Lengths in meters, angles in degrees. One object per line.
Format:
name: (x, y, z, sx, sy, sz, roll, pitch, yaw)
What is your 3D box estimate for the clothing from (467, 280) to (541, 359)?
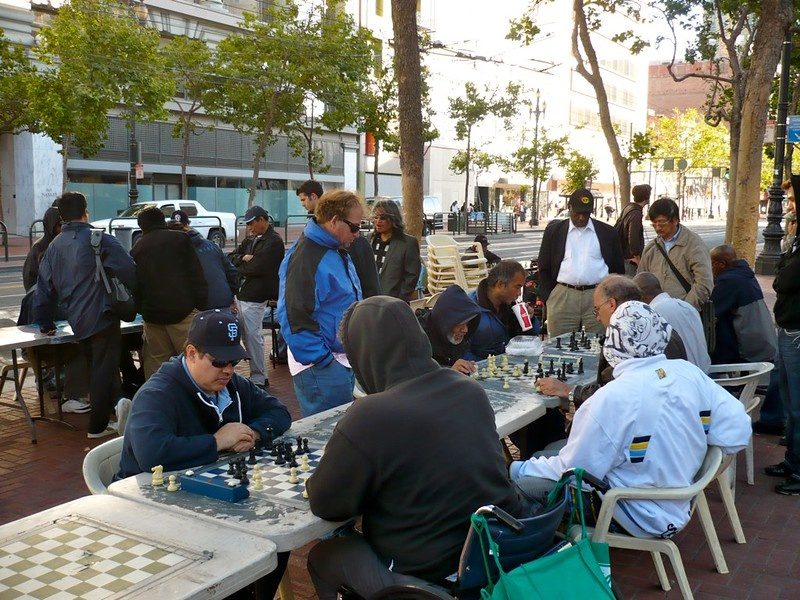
clothing: (0.916, 0.343, 6.343, 0.595, 0.847, 0.483, -3, 7, -3)

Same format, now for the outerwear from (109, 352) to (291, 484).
outerwear: (-1.215, 0.789, 4.168, 0.715, 0.826, 1.129, 5, 5, 27)

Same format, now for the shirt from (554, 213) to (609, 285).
shirt: (2.031, -0.562, 7.813, 0.567, 0.804, 0.449, -6, 26, 5)

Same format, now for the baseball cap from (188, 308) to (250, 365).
baseball cap: (-1.029, 0.184, 3.978, 0.403, 0.236, 0.291, 17, 7, 28)

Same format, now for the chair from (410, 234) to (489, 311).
chair: (0.761, -0.401, 11.568, 1.251, 1.741, 1.290, 3, 8, 34)

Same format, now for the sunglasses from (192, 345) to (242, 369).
sunglasses: (-1.041, 0.326, 3.872, 0.165, 0.044, 0.163, 24, 5, 28)

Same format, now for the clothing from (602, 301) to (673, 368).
clothing: (1.358, 0.185, 4.034, 0.385, 0.353, 0.279, -4, 11, 9)

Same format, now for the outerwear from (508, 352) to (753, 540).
outerwear: (1.365, 0.766, 4.147, 1.263, 0.859, 0.885, -9, 11, -19)

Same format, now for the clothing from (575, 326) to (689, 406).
clothing: (1.427, 0.415, 4.226, 0.640, 0.426, 0.755, -8, 11, 35)

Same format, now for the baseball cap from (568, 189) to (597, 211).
baseball cap: (1.993, -1.129, 7.659, 0.198, 0.161, 0.288, 3, 31, -2)

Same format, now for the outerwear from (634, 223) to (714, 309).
outerwear: (3.008, -0.373, 7.718, 0.749, 1.026, 0.578, 10, 37, 31)

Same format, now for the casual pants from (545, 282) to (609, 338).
casual pants: (1.842, 0.107, 7.187, 0.593, 0.861, 0.320, 0, 1, 2)

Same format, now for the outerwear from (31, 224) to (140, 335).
outerwear: (-3.151, -0.171, 6.933, 1.065, 1.098, 0.605, -5, 0, 9)

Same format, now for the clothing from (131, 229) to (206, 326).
clothing: (-2.396, -0.211, 7.140, 0.883, 1.110, 0.619, -7, 2, -16)

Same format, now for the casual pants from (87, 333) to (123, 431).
casual pants: (-3.019, 0.842, 7.019, 0.254, 1.088, 0.308, -7, -6, -17)
